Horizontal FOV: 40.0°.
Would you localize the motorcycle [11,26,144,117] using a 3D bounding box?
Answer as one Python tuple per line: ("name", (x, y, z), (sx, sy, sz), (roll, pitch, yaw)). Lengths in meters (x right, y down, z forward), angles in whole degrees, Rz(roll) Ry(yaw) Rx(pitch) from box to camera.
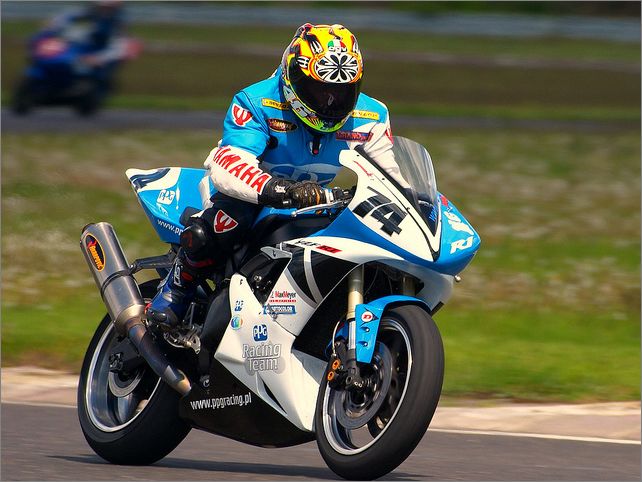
("motorcycle", (-4.120, -2.813, 14.733), (2.049, 1.406, 0.825), (-2, 12, -15))
